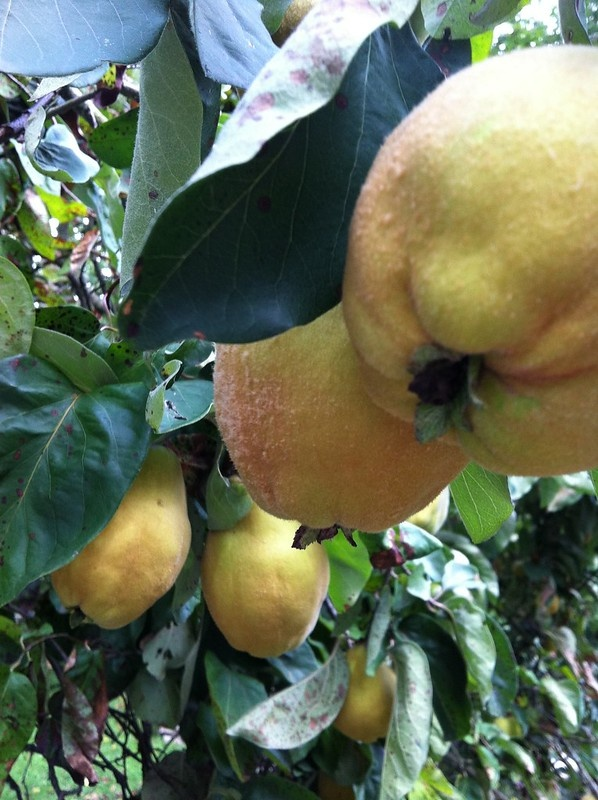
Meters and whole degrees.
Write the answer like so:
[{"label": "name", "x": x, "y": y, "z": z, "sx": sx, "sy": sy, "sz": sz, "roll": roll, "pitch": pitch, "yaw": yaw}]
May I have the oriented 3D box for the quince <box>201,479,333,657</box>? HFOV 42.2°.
[{"label": "quince", "x": -0.041, "y": 0.212, "z": 0.959, "sx": 0.147, "sy": 0.146, "sz": 0.201, "roll": -20, "pitch": 65, "yaw": 29}]
